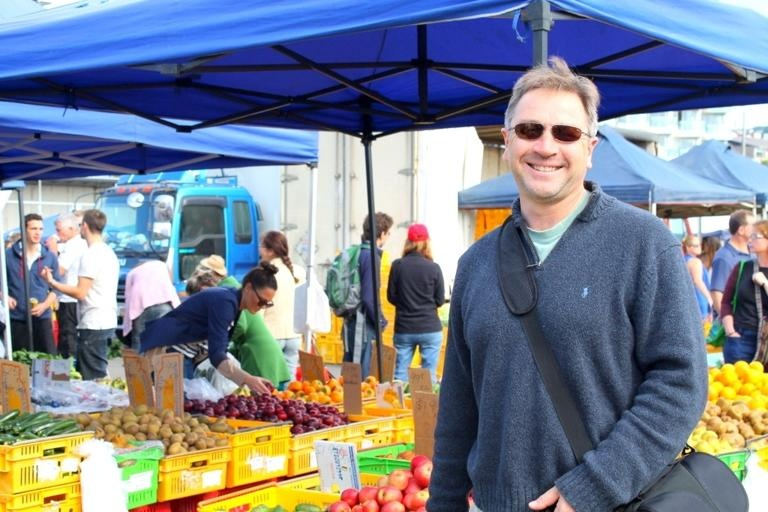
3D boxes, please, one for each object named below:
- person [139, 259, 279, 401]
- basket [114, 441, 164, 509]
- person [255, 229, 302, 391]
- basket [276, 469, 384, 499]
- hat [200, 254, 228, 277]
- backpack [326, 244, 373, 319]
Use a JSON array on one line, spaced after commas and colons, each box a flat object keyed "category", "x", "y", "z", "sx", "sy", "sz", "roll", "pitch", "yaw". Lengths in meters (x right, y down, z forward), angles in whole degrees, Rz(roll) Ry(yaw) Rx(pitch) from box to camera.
[{"category": "person", "x": -1.499, "y": 0.676, "z": 7.120, "sx": 1.270, "sy": 0.767, "sz": 0.595, "roll": -4, "pitch": 6, "yaw": 37}, {"category": "basket", "x": -1.580, "y": 1.439, "z": 5.322, "sx": 0.305, "sy": 0.334, "sz": 0.354, "roll": 0, "pitch": 0, "yaw": -36}, {"category": "person", "x": -1.168, "y": 0.627, "z": 9.439, "sx": 0.533, "sy": 1.906, "sz": 0.567, "roll": 4, "pitch": 13, "yaw": 4}, {"category": "basket", "x": -0.520, "y": 1.570, "z": 5.544, "sx": 0.334, "sy": 0.090, "sz": 0.338, "roll": -1, "pitch": -2, "yaw": 31}, {"category": "hat", "x": -2.027, "y": 0.103, "z": 9.595, "sx": 0.263, "sy": 0.105, "sz": 0.238, "roll": 30, "pitch": 14, "yaw": -10}, {"category": "backpack", "x": -0.422, "y": 0.240, "z": 9.040, "sx": 0.364, "sy": 0.923, "sz": 0.440, "roll": 9, "pitch": 16, "yaw": 18}]
